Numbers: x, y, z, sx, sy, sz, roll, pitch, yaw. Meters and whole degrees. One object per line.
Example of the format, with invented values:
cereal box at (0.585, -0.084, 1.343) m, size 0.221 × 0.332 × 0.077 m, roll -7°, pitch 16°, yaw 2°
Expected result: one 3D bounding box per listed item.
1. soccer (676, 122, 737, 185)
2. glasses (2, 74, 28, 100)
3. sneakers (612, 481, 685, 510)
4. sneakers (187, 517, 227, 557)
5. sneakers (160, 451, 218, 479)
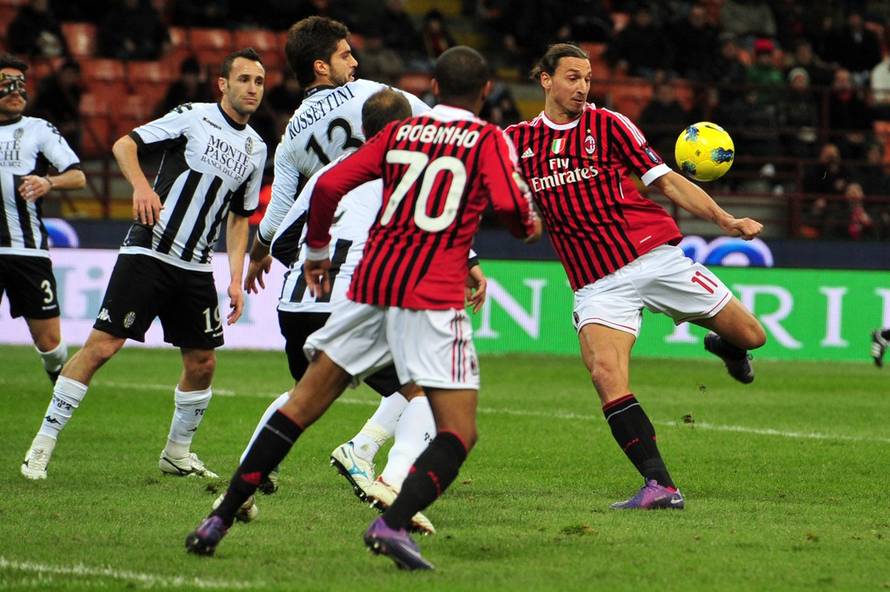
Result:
soccer at (2.032, -1.139, 8.687) m, size 0.476 × 0.443 × 0.447 m, roll 3°, pitch 27°, yaw 39°
glasses at (-3.544, -1.712, 9.283) m, size 0.206 × 0.274 × 0.173 m, roll -1°, pitch -8°, yaw -32°
sneakers at (1.392, 1.350, 7.754) m, size 0.528 × 0.238 × 0.184 m, roll 1°, pitch -5°, yaw 1°
sneakers at (-1.418, 1.447, 6.794) m, size 0.177 × 0.106 × 0.268 m, roll 32°, pitch 53°, yaw 12°
sneakers at (-1.941, 1.278, 8.612) m, size 0.504 × 0.220 × 0.186 m, roll 8°, pitch -2°, yaw -2°
